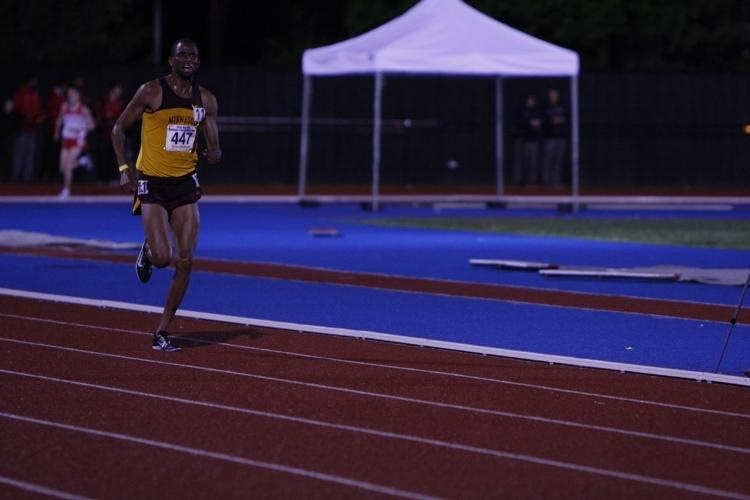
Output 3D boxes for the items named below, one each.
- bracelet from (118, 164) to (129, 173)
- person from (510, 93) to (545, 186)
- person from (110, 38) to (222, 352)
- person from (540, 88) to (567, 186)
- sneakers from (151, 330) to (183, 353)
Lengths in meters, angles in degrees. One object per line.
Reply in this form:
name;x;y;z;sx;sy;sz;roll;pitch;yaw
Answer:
bracelet;-1.861;-0.612;5.433;0.084;0.044;0.110;-8;1;-21
person;3.079;-2.152;14.677;0.533;1.853;1.020;3;12;11
person;-1.529;-0.417;5.504;0.761;2.277;0.533;-3;12;-20
person;3.478;-2.129;14.232;0.440;1.793;0.559;3;12;11
sneakers;-1.582;0.684;5.552;0.290;0.131;0.106;2;2;37
